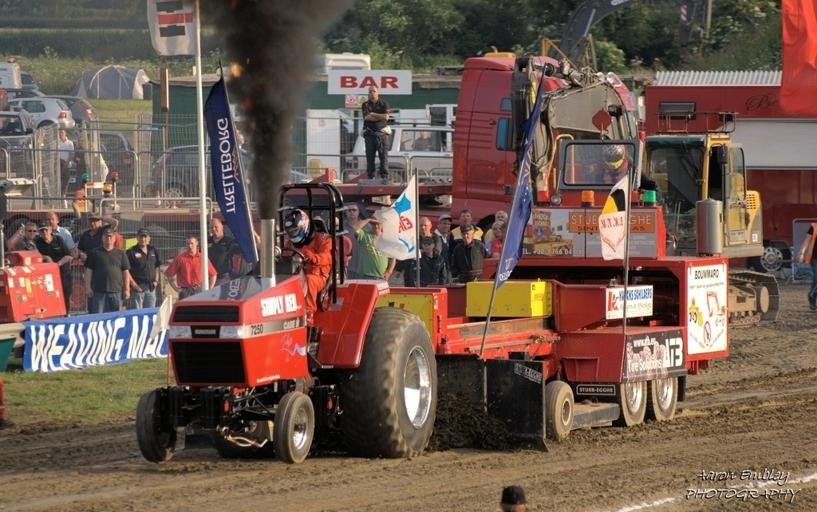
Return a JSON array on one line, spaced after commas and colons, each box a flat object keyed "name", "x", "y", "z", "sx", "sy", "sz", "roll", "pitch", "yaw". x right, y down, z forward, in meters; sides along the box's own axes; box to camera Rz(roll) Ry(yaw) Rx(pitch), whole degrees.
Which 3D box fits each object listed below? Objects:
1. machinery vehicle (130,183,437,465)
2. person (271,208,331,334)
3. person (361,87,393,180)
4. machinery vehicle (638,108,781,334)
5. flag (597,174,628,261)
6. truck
[{"name": "machinery vehicle", "x": -2.039, "y": 1.440, "z": 30.348, "sx": 3.499, "sy": 5.210, "sz": 5.286, "roll": 0, "pitch": -1, "yaw": 33}, {"name": "person", "x": -1.746, "y": 0.288, "z": 28.807, "sx": 0.686, "sy": 2.081, "sz": 0.876, "roll": 0, "pitch": -3, "yaw": 7}, {"name": "person", "x": -0.748, "y": -2.827, "z": 40.112, "sx": 0.586, "sy": 2.129, "sz": 0.668, "roll": -2, "pitch": 3, "yaw": -3}, {"name": "machinery vehicle", "x": 6.649, "y": -0.843, "z": 38.268, "sx": 2.775, "sy": 4.759, "sz": 5.154, "roll": -1, "pitch": 4, "yaw": 12}, {"name": "flag", "x": 3.647, "y": -0.668, "z": 30.975, "sx": 0.509, "sy": 1.548, "sz": 0.569, "roll": 0, "pitch": 0, "yaw": -1}, {"name": "truck", "x": -0.508, "y": -2.061, "z": 35.733, "sx": 14.071, "sy": 5.207, "sz": 2.929, "roll": 0, "pitch": -2, "yaw": 5}]
